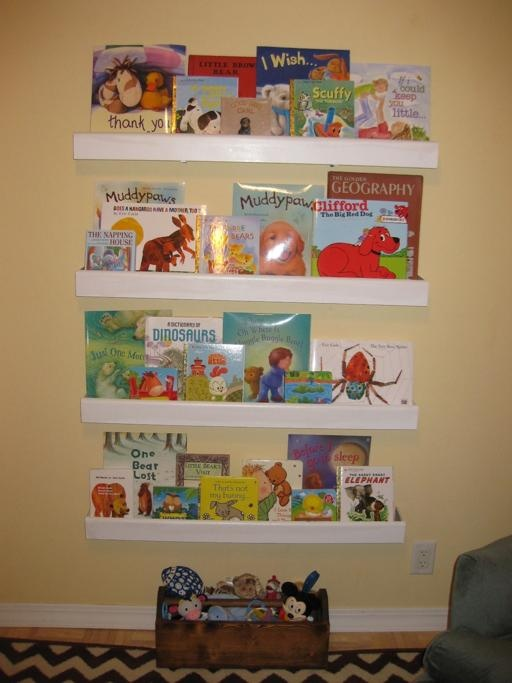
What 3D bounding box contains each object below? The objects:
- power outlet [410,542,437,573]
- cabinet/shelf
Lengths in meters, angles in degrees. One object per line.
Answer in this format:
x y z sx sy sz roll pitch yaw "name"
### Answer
0.552 0.712 2.239 0.106 0.135 0.014 4 7 -2 "power outlet"
-0.025 -0.046 2.075 1.346 1.401 0.384 1 6 1 "cabinet/shelf"
